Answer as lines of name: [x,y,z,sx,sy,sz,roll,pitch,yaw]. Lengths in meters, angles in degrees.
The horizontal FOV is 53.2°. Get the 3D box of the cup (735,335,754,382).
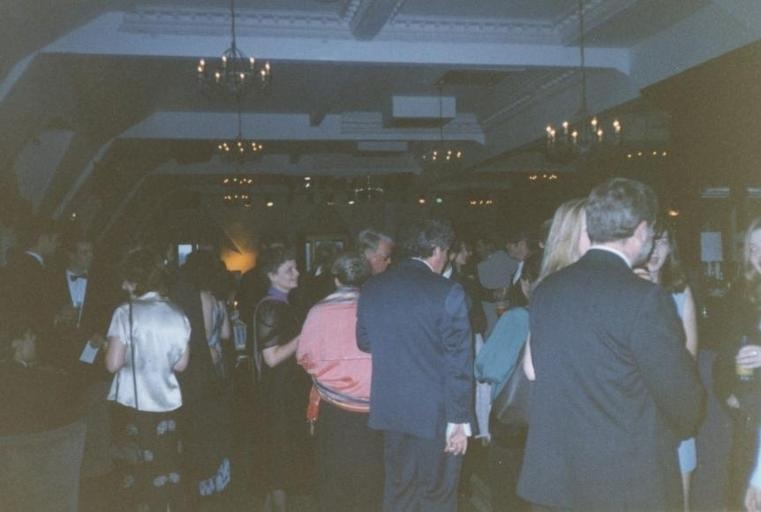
cup: [2.586,0.729,5.402,0.132,0.313,0.077,-3,-6,6]

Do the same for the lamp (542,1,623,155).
lamp: [2.373,-1.966,9.037,0.828,2.037,2.306,-4,-6,14]
